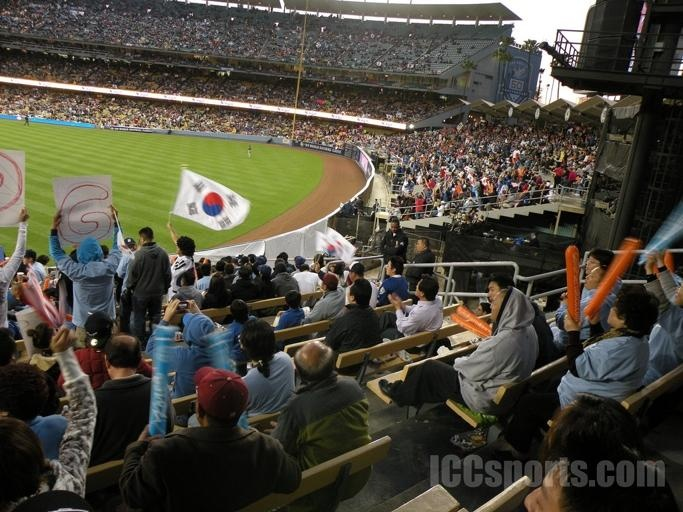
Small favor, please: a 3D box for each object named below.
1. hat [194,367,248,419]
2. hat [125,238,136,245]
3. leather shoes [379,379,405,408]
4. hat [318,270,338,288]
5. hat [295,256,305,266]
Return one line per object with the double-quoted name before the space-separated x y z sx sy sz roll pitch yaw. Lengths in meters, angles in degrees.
"hat" -0.763 0.832 3.197 0.246 0.176 0.331 0 34 -28
"hat" -4.408 -0.318 10.568 0.263 0.125 0.357 -2 -14 -18
"leather shoes" 0.492 1.328 4.897 0.124 0.135 0.351 4 17 -26
"hat" -0.137 0.248 6.203 0.162 0.195 0.204 -17 50 -28
"hat" -0.817 0.097 10.076 0.155 0.101 0.198 4 45 -4
